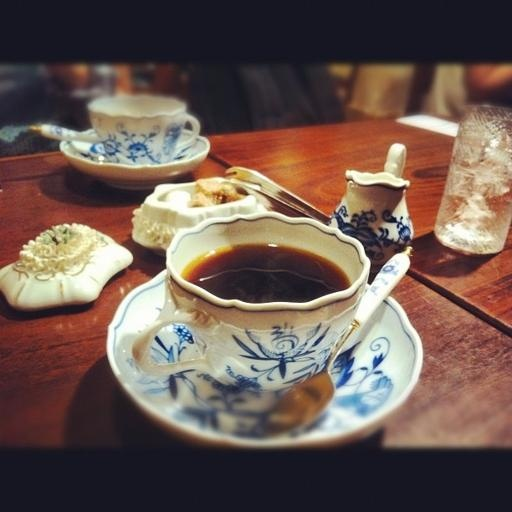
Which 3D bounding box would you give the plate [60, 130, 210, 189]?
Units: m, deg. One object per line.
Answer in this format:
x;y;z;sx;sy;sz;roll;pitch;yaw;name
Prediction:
-0.187;-0.150;0.830;0.153;0.040;0.148;-18;36;-39;plate

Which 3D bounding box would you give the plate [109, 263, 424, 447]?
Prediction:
-0.015;0.044;0.443;0.204;0.094;0.161;-13;37;-24;plate

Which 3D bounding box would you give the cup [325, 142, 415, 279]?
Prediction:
0.144;-0.080;0.716;0.121;0.169;0.167;20;35;26;cup

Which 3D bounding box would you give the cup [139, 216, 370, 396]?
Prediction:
0.000;0.071;0.462;0.191;0.090;0.156;-21;45;-28;cup

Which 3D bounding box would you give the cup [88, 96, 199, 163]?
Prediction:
-0.195;-0.218;0.874;0.162;0.083;0.131;-7;37;-20;cup
